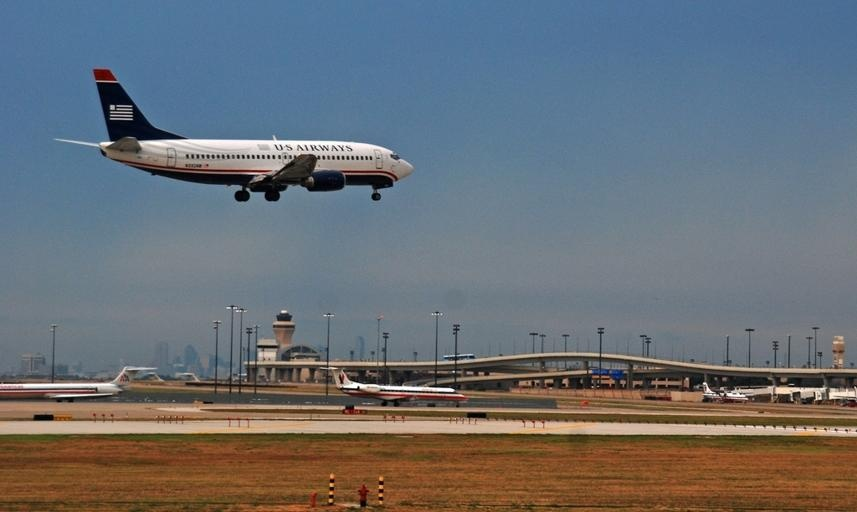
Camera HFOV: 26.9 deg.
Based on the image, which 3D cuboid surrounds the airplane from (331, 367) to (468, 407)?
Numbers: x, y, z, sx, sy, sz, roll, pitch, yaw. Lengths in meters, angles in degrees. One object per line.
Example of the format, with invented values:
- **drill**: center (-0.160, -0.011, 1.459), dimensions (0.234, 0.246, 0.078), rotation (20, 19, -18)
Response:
- **airplane**: center (-4.006, 17.564, 237.418), dimensions (16.271, 5.404, 11.624), rotation (1, -9, -3)

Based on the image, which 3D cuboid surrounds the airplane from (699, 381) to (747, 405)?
- **airplane**: center (48.835, 22.882, 296.267), dimensions (5.701, 1.919, 5.209), rotation (-1, -2, 24)
